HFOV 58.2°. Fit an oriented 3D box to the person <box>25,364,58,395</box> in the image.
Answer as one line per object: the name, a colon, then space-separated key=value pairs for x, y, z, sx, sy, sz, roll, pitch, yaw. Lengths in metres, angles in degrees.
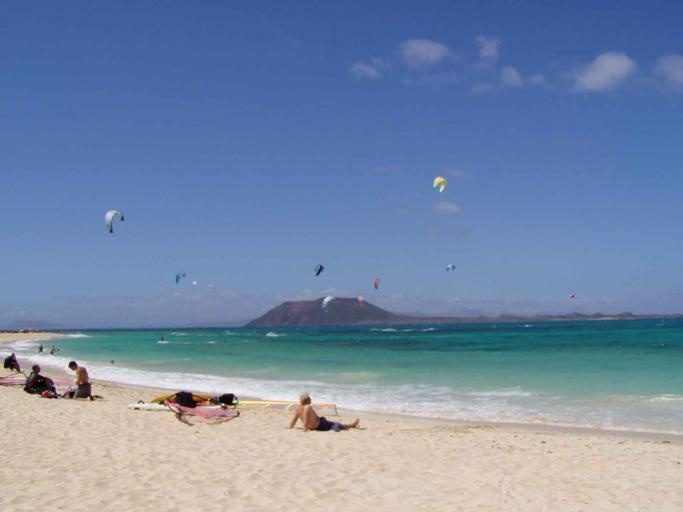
person: x=-10.244 y=4.278 z=20.926 sx=1.529 sy=0.674 sz=0.662 roll=1 pitch=-13 yaw=25

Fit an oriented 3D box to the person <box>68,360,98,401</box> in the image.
person: x=-8.898 y=4.153 z=21.121 sx=0.842 sy=1.311 sz=3.160 roll=5 pitch=-6 yaw=-21

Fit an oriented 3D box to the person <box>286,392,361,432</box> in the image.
person: x=-0.554 y=4.482 z=17.708 sx=2.087 sy=0.886 sz=0.985 roll=-1 pitch=-2 yaw=-17
